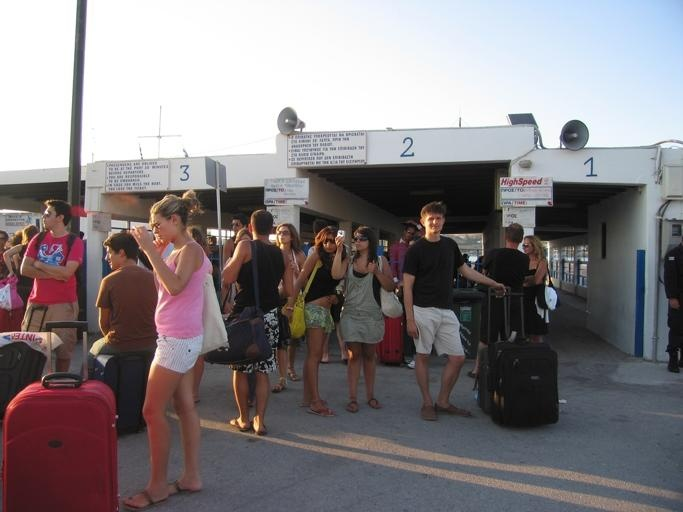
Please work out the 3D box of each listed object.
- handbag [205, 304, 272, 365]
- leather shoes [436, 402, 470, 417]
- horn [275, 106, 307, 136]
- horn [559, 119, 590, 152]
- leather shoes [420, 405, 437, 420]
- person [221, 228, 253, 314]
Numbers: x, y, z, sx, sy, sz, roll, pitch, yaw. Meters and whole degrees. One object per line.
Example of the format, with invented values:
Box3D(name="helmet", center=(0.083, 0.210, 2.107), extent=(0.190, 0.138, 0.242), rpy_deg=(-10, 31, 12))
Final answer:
Box3D(name="handbag", center=(-1.028, 0.789, 5.929), extent=(0.524, 0.447, 0.240), rpy_deg=(-12, -20, 19))
Box3D(name="leather shoes", center=(1.352, 1.821, 7.124), extent=(0.399, 0.148, 0.158), rpy_deg=(-2, -1, 18))
Box3D(name="horn", center=(-1.025, -2.739, 11.961), extent=(0.524, 0.544, 0.518), rpy_deg=(0, 4, 2))
Box3D(name="horn", center=(4.189, -2.170, 10.625), extent=(0.451, 0.521, 0.401), rpy_deg=(2, 4, 20))
Box3D(name="leather shoes", center=(1.043, 1.819, 6.932), extent=(0.186, 0.147, 0.141), rpy_deg=(1, 4, 6))
Box3D(name="person", center=(-1.187, 0.190, 6.797), extent=(0.210, 0.891, 0.724), rpy_deg=(15, -20, -34))
